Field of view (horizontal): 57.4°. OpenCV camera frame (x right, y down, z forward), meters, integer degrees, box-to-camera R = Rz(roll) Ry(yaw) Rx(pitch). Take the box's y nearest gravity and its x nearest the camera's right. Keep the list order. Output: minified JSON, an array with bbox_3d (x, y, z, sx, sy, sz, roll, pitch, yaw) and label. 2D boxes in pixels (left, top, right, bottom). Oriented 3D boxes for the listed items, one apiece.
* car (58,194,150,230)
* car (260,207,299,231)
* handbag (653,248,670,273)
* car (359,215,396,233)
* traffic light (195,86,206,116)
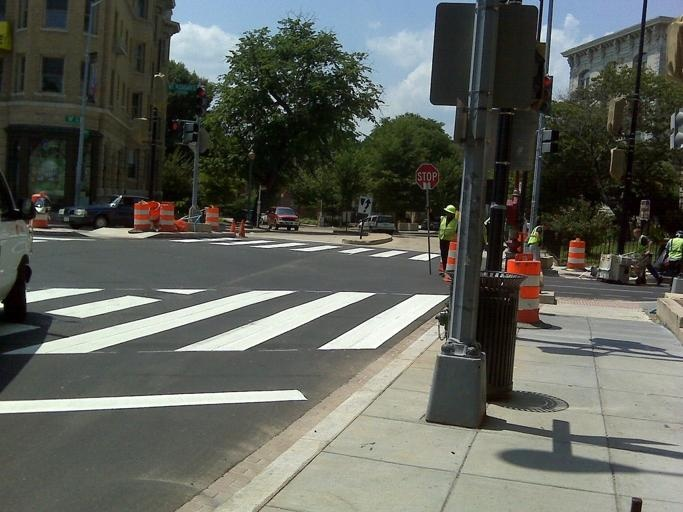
[{"bbox_3d":[-11.052,-1.923,29.059,1.777,1.294,4.051,2,2,38],"label":"car"},{"bbox_3d":[-4.908,-3.120,50.501,1.676,1.558,3.502,1,0,-20],"label":"car"},{"bbox_3d":[11.690,0.113,22.774,0.324,0.421,1.463,19,35,14],"label":"handbag"},{"bbox_3d":[3.625,-3.069,58.855,1.811,1.345,3.427,-1,10,-15],"label":"car"},{"bbox_3d":[-5.757,-6.469,25.451,0.345,1.262,1.048,0,7,-12],"label":"traffic light"}]
